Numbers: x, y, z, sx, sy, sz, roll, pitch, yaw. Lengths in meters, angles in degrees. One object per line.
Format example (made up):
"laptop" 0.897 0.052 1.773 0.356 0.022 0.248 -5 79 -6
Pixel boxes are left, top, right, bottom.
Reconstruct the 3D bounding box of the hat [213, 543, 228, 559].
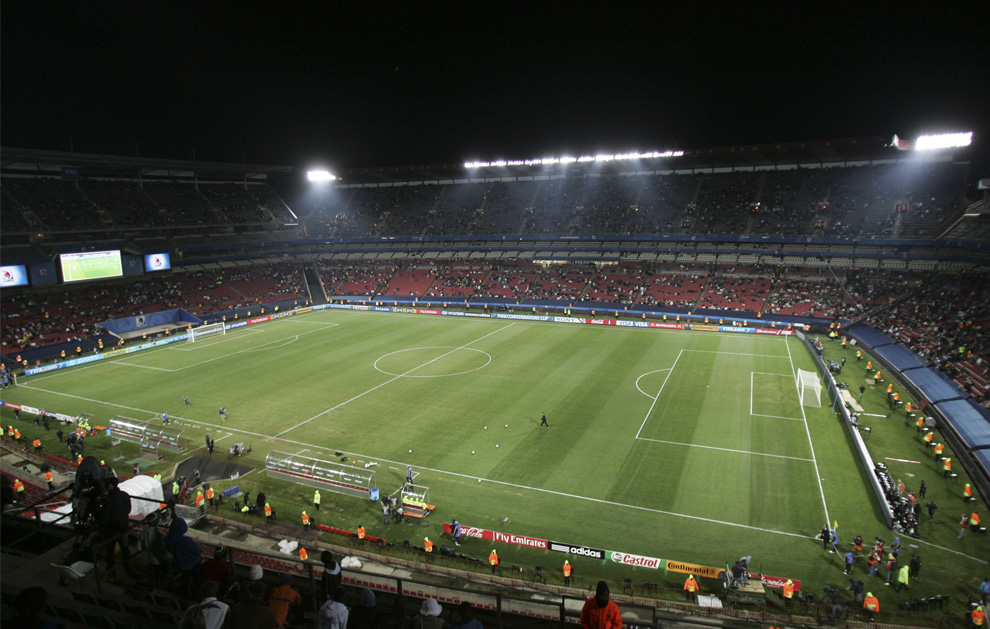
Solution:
"hat" -11.438 9.889 26.571 0.592 0.132 0.607 16 21 40
